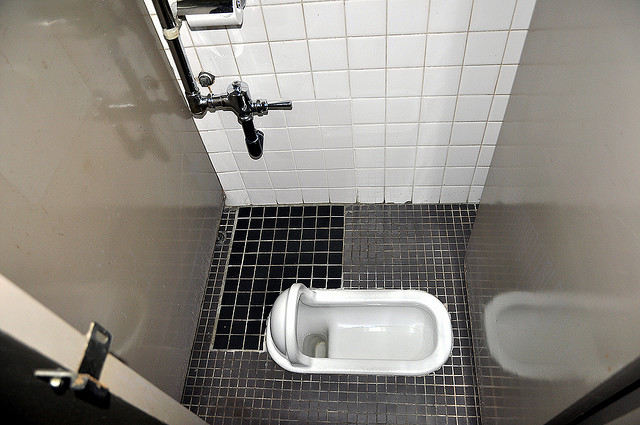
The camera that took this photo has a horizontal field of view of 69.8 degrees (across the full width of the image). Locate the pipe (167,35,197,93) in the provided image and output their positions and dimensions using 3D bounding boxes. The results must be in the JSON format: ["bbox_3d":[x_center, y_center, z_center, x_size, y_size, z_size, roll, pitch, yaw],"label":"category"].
[{"bbox_3d":[-0.566,-0.604,1.885,0.054,0.245,0.063,-22,45,-11],"label":"pipe"}]

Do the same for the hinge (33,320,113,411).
[{"bbox_3d":[-0.546,0.338,1.046,0.125,0.112,0.155,-5,52,12],"label":"hinge"}]

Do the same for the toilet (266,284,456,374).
[{"bbox_3d":[0.173,0.535,2.183,0.829,0.577,0.427,-2,70,9],"label":"toilet"}]
